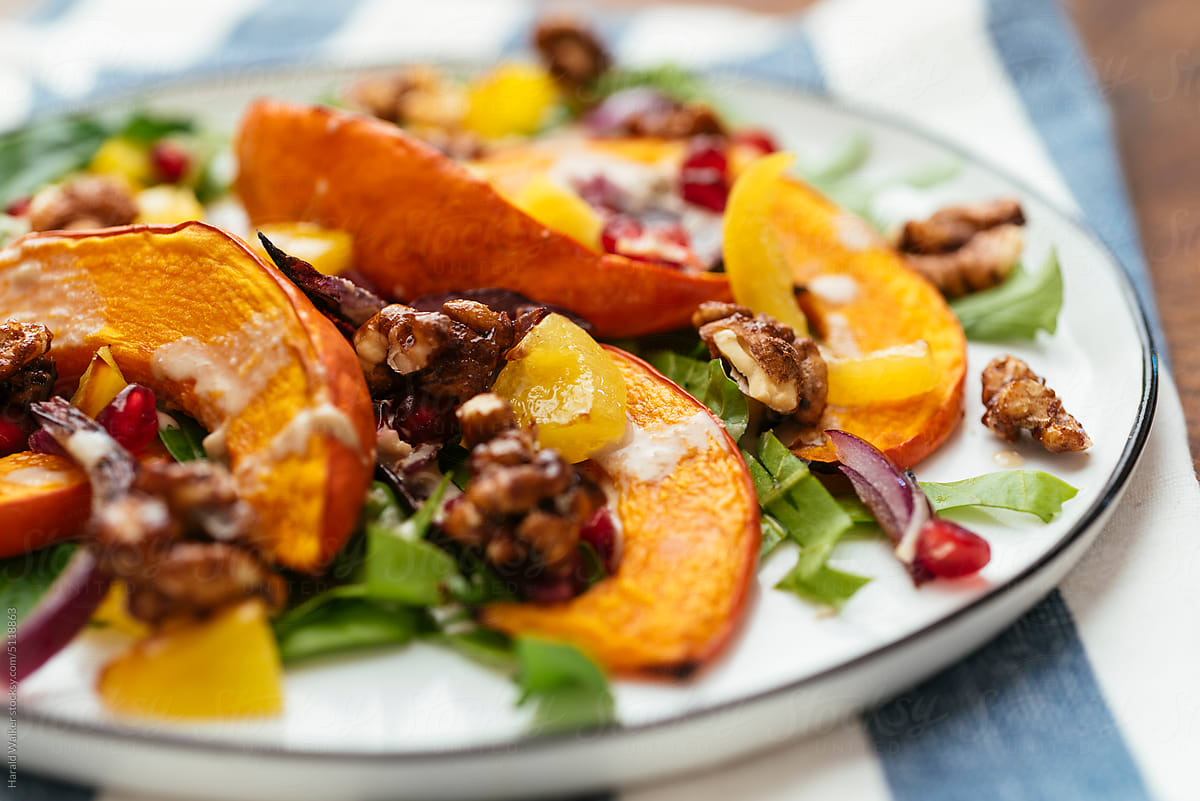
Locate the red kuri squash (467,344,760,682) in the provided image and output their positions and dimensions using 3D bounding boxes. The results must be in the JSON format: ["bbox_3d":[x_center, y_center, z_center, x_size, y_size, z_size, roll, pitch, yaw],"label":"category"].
[{"bbox_3d":[0.097,0.195,1.792,0.349,0.129,0.492,26,76,7],"label":"red kuri squash"}]
